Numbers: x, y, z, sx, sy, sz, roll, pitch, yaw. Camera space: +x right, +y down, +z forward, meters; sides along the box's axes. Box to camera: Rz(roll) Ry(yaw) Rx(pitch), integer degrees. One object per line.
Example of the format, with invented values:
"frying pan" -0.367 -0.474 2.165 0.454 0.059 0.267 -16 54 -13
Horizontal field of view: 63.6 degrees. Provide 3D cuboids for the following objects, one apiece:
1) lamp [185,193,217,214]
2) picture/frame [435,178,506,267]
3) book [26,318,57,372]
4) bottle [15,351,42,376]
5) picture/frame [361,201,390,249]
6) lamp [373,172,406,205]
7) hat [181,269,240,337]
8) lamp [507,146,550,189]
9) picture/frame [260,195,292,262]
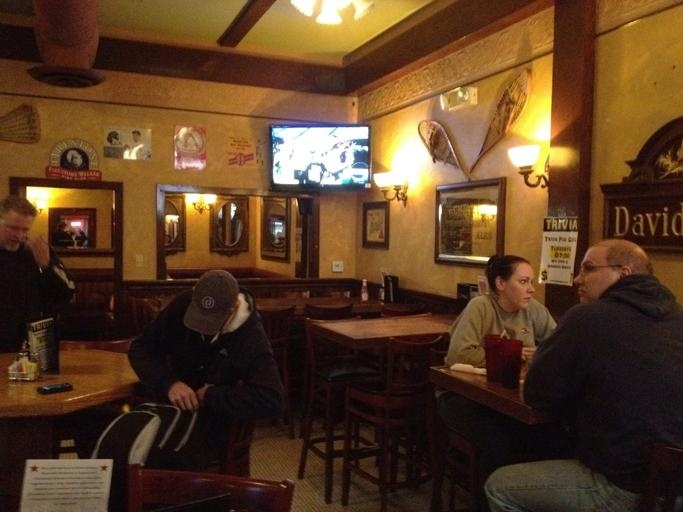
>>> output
"lamp" -2.531 -0.992 9.799 0.575 0.368 0.551 0 16 -6
"picture/frame" 1.262 -0.308 5.465 0.075 0.867 1.018 -1 4 -28
"book" -1.664 0.503 3.061 0.087 0.255 0.236 -6 13 8
"bottle" -1.681 0.577 2.971 0.126 0.132 0.090 -1 -3 14
"picture/frame" 0.446 -0.399 7.004 0.043 0.627 0.606 0 2 -24
"lamp" 0.568 -0.787 6.565 0.335 0.401 0.480 0 3 -13
"hat" -0.681 0.247 2.888 0.276 0.327 0.200 -1 3 -27
"lamp" 1.556 -0.751 4.691 0.349 0.403 0.328 -3 -2 14
"picture/frame" -1.041 -0.454 8.962 0.083 1.108 1.022 0 3 -27
